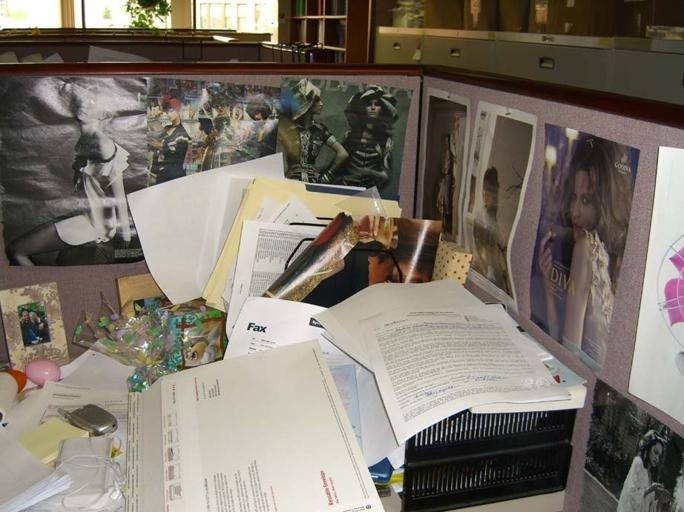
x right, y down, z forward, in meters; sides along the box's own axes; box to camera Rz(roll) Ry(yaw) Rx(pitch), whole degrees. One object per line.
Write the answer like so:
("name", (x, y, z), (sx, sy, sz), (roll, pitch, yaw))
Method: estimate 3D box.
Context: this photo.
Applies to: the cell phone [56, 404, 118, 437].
("cell phone", (-0.379, 0.246, 0.757), (0.089, 0.029, 0.042), (4, 15, 33))
